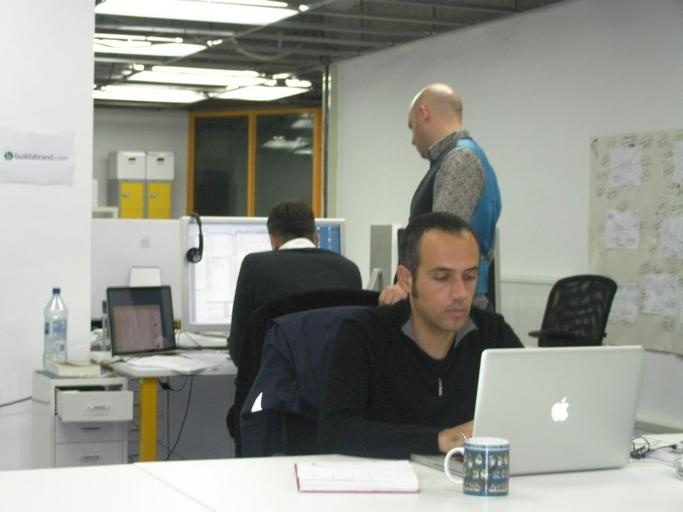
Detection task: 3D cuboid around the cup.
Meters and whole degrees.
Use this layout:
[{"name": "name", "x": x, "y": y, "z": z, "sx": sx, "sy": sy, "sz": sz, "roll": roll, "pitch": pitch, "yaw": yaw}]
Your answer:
[{"name": "cup", "x": 0.347, "y": 0.542, "z": 1.835, "sx": 0.162, "sy": 0.147, "sz": 0.112, "roll": -1, "pitch": -1, "yaw": 8}]

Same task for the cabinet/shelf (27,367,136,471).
[{"name": "cabinet/shelf", "x": -1.130, "y": 0.724, "z": 3.138, "sx": 0.298, "sy": 0.514, "sz": 0.538, "roll": 0, "pitch": 1, "yaw": -21}]

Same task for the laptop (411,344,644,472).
[{"name": "laptop", "x": 0.573, "y": 0.396, "z": 1.924, "sx": 0.455, "sy": 0.323, "sz": 0.368, "roll": 2, "pitch": -2, "yaw": -22}]

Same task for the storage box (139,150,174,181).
[{"name": "storage box", "x": -2.789, "y": -1.371, "z": 10.842, "sx": 0.376, "sy": 0.424, "sz": 0.405, "roll": -1, "pitch": 6, "yaw": -9}]

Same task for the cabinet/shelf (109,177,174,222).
[{"name": "cabinet/shelf", "x": -2.872, "y": -0.825, "z": 10.154, "sx": 0.937, "sy": 0.741, "sz": 0.542, "roll": 2, "pitch": 4, "yaw": -12}]

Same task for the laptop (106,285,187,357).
[{"name": "laptop", "x": -0.997, "y": 0.336, "z": 3.569, "sx": 0.305, "sy": 0.342, "sz": 0.030, "roll": 1, "pitch": -10, "yaw": -36}]

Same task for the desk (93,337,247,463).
[{"name": "desk", "x": -0.832, "y": 0.817, "z": 3.793, "sx": 0.628, "sy": 0.679, "sz": 0.655, "roll": 1, "pitch": -4, "yaw": -23}]

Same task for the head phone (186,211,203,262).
[{"name": "head phone", "x": -0.806, "y": -0.090, "z": 3.868, "sx": 0.093, "sy": 0.307, "sz": 0.216, "roll": 0, "pitch": -5, "yaw": -21}]

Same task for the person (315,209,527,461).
[{"name": "person", "x": 0.248, "y": 0.296, "z": 2.352, "sx": 0.845, "sy": 0.822, "sz": 0.585, "roll": 1, "pitch": -3, "yaw": -24}]

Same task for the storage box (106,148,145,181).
[{"name": "storage box", "x": -3.279, "y": -1.330, "z": 10.856, "sx": 0.446, "sy": 0.400, "sz": 0.466, "roll": 2, "pitch": -3, "yaw": -21}]
